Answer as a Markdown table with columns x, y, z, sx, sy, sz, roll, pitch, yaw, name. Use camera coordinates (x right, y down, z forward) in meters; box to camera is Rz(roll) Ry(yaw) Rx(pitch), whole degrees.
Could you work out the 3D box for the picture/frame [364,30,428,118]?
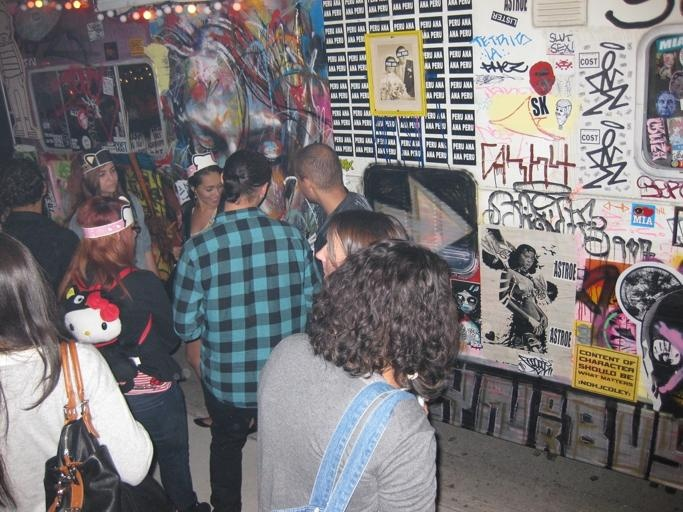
| x | y | z | sx | sy | sz | roll | pitch | yaw | name |
| --- | --- | --- | --- | --- | --- | --- | --- | --- | --- |
| 0.486 | -1.593 | 4.613 | 0.718 | 0.880 | 0.058 | 4 | 24 | 34 | picture/frame |
